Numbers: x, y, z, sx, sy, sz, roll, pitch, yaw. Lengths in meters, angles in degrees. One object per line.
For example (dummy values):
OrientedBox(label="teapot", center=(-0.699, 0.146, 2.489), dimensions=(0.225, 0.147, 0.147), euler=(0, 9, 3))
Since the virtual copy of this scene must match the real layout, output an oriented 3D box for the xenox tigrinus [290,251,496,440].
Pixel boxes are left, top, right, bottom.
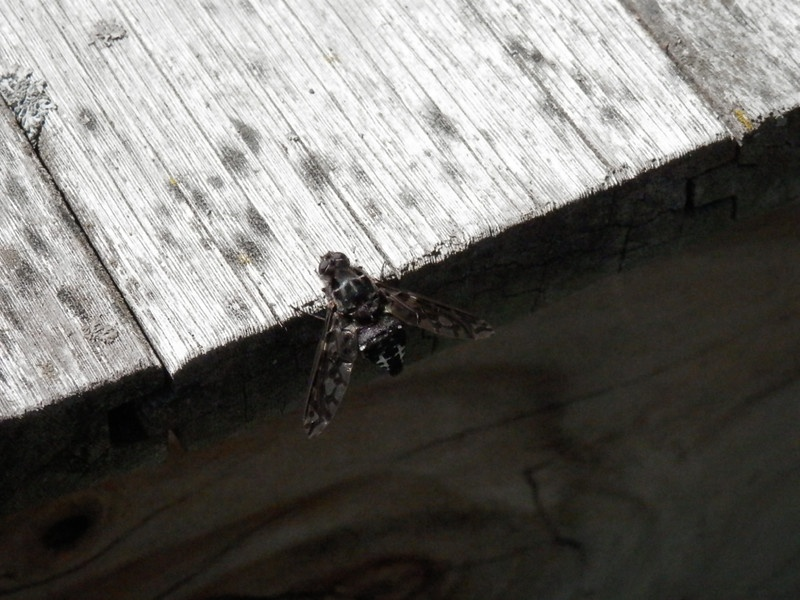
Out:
OrientedBox(label="xenox tigrinus", center=(-0.143, 0.124, 6.236), dimensions=(1.127, 0.349, 0.952), euler=(-19, 63, -18))
